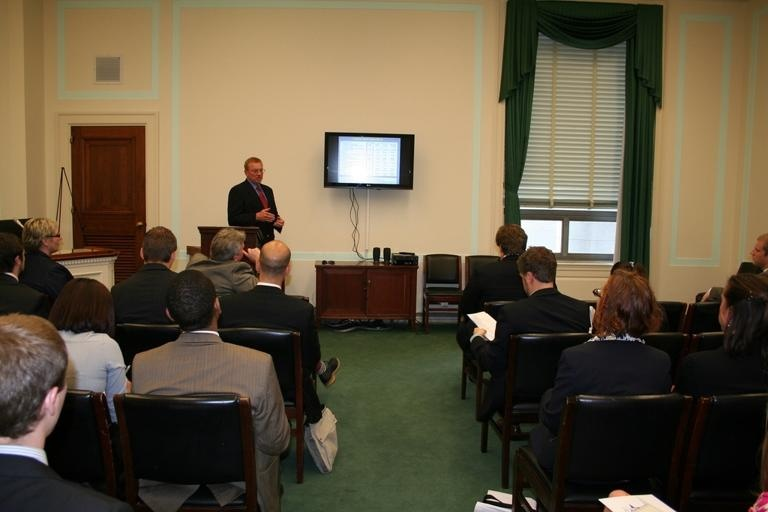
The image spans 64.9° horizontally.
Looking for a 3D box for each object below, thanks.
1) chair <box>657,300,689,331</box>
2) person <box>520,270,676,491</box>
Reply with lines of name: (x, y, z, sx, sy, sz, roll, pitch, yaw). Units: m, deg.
chair: (2.089, 0.439, 4.380, 0.193, 0.314, 0.223, 1, 5, 6)
person: (1.218, 0.824, 3.504, 0.650, 1.656, 0.848, -5, 17, -7)
